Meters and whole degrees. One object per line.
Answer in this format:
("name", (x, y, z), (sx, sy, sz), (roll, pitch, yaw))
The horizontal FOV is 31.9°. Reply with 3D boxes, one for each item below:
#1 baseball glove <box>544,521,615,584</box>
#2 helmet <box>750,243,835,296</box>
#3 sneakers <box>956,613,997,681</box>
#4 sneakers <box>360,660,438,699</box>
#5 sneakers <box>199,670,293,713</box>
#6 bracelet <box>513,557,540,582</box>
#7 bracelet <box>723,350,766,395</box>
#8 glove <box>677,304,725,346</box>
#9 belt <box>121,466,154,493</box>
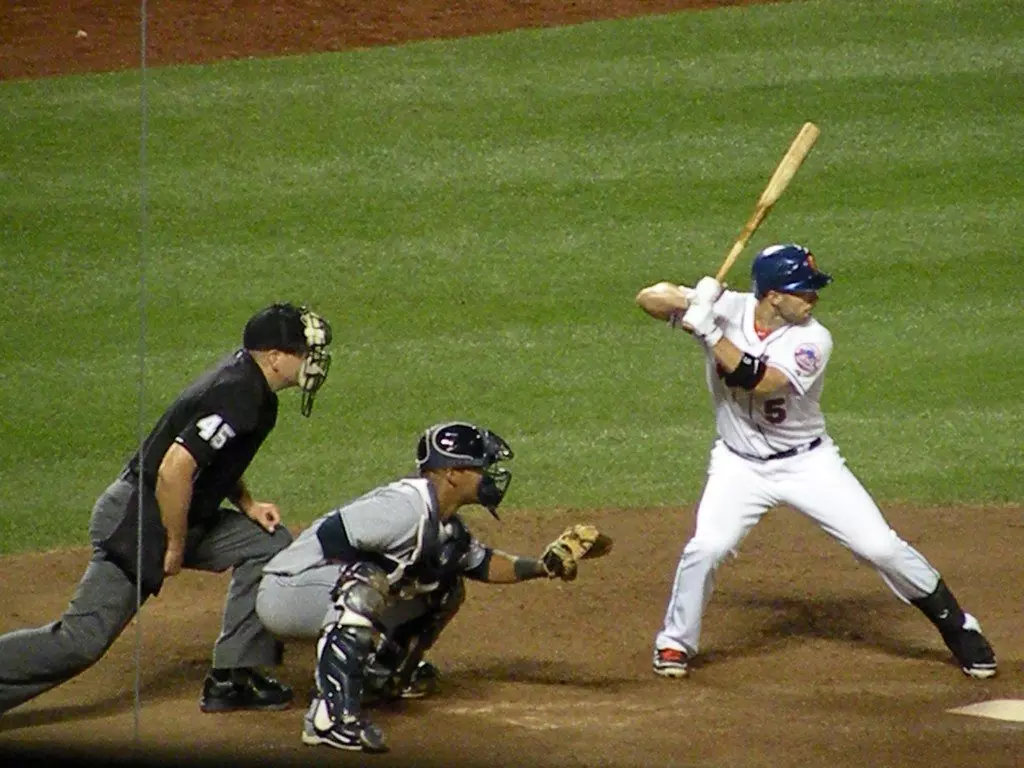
("baseball glove", (0.416, 1.065, 11.757), (0.468, 0.196, 0.295), (-29, 50, -31))
("helmet", (1.847, -0.767, 11.966), (0.448, 0.247, 0.320), (-1, 19, 14))
("sneakers", (3.096, 1.763, 11.919), (0.200, 0.203, 0.470), (-19, 51, 7))
("sneakers", (-0.710, 1.888, 11.576), (0.550, 0.217, 0.170), (-6, 34, -14))
("sneakers", (-1.714, 1.896, 11.374), (0.632, 0.257, 0.235), (0, 12, -14))
("bracelet", (0.103, 1.179, 11.680), (0.160, 0.115, 0.126), (-2, -11, 22))
("bracelet", (1.545, -0.073, 11.851), (0.209, 0.236, 0.243), (-17, -12, -24))
("glove", (1.246, -0.385, 11.824), (0.214, 0.284, 0.120), (-44, 5, -23))
("belt", (-2.382, 0.597, 11.384), (0.188, 0.044, 0.172), (28, 2, -10))
